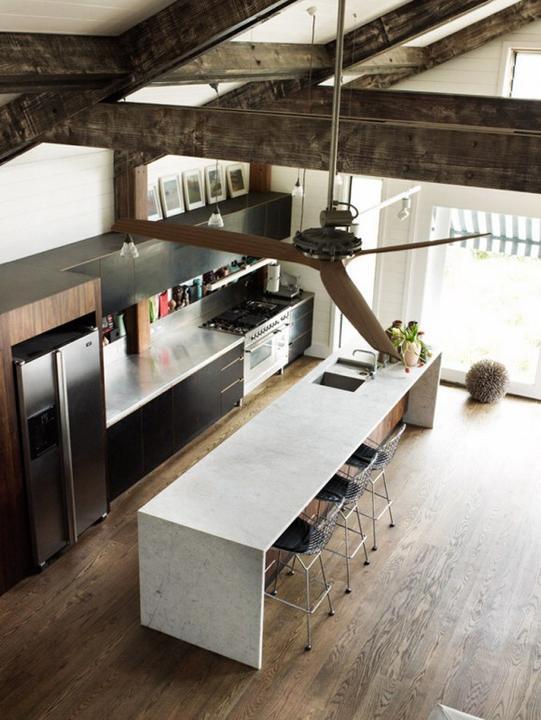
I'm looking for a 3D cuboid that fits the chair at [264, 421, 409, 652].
[{"bbox_3d":[0.436,1.274,3.913,0.338,0.589,1.140,11,30,21],"label":"chair"}]

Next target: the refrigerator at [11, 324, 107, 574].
[{"bbox_3d":[-1.472,0.651,3.988,0.312,1.714,0.818,4,19,13],"label":"refrigerator"}]

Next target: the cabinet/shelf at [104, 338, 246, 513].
[{"bbox_3d":[-0.908,0.563,4.906,0.374,0.507,1.435,10,28,22],"label":"cabinet/shelf"}]

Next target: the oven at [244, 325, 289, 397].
[{"bbox_3d":[-0.069,0.002,6.977,0.499,0.475,0.730,10,32,23],"label":"oven"}]

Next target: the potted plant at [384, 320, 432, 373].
[{"bbox_3d":[1.481,-0.171,5.766,0.362,0.307,0.294,-39,-11,16],"label":"potted plant"}]
